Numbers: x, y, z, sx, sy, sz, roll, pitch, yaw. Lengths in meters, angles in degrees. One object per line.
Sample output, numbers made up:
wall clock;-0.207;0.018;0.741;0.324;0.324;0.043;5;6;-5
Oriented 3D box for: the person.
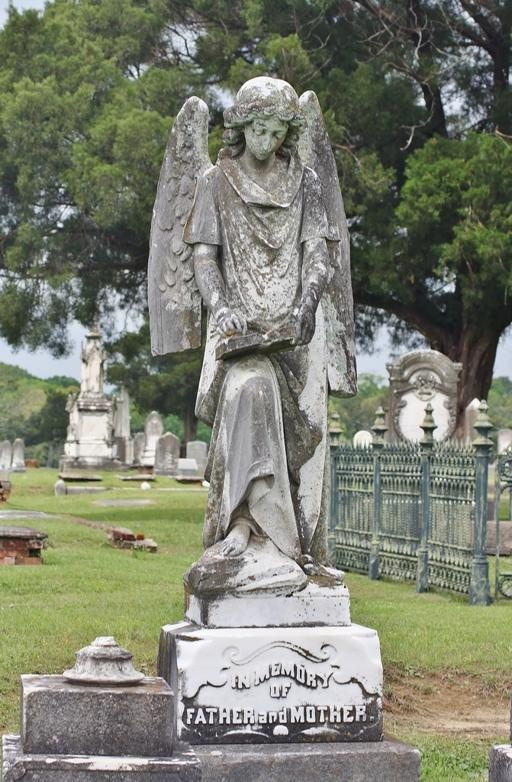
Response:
person;0.032;-0.480;19.721;1.207;4.499;0.614;1;-2;2
